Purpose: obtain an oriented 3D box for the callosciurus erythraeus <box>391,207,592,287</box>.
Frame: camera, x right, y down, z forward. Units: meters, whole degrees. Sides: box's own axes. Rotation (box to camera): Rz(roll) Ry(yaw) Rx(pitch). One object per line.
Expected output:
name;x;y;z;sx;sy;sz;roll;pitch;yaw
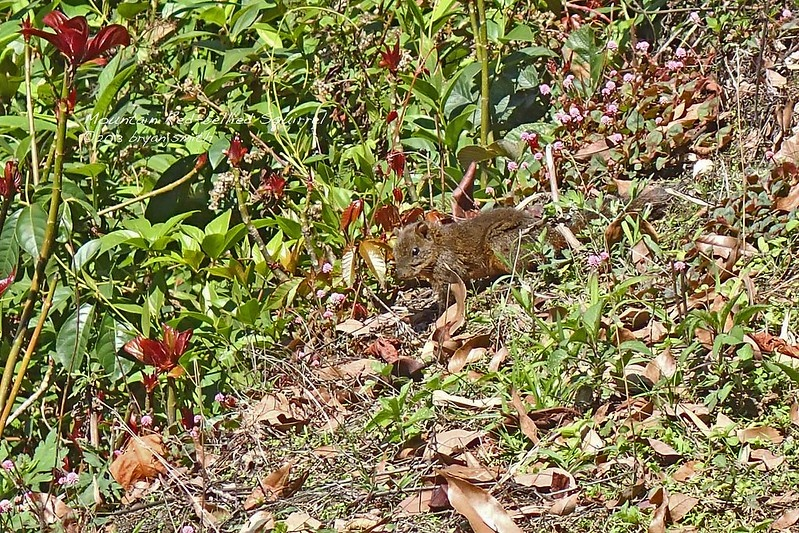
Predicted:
callosciurus erythraeus;0.482;-0.088;4.926;1.047;0.627;0.474;3;54;0
